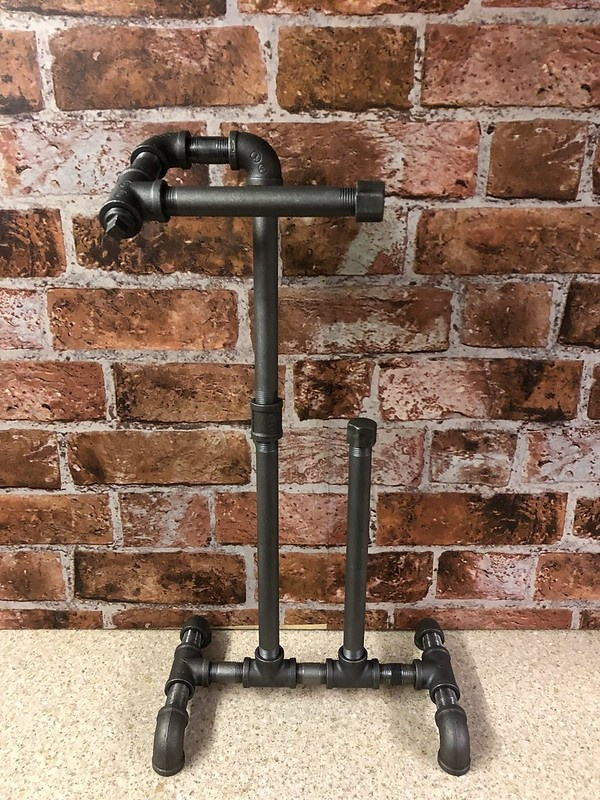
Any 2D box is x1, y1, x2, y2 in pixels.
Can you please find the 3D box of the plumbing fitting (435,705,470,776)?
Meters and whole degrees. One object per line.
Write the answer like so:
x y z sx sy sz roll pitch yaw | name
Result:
0.160 0.353 0.813 0.039 0.037 0.063 -1 28 0 | plumbing fitting

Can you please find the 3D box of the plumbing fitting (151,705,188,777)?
-0.139 0.364 0.833 0.039 0.051 0.058 4 10 1 | plumbing fitting

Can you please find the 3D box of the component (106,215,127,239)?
-0.163 -0.154 0.690 0.012 0.019 0.011 25 49 28 | component

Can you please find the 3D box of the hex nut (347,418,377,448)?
0.064 0.035 0.821 0.037 0.026 0.029 1 16 0 | hex nut

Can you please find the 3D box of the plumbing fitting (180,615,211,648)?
-0.126 0.280 0.942 0.042 0.035 0.041 1 21 -6 | plumbing fitting

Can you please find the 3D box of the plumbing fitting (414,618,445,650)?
0.156 0.283 0.941 0.032 0.036 0.037 -4 10 2 | plumbing fitting

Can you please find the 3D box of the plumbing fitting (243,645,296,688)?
-0.033 0.322 0.941 0.088 0.059 0.044 0 30 -1 | plumbing fitting

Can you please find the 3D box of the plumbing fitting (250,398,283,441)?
-0.035 0.019 0.809 0.045 0.041 0.041 -1 10 -5 | plumbing fitting

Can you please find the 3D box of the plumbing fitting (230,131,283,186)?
-0.045 -0.241 0.796 0.061 0.067 0.041 2 5 18 | plumbing fitting

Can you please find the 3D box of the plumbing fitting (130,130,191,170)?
-0.136 -0.248 0.777 0.058 0.017 0.037 -2 -19 7 | plumbing fitting
